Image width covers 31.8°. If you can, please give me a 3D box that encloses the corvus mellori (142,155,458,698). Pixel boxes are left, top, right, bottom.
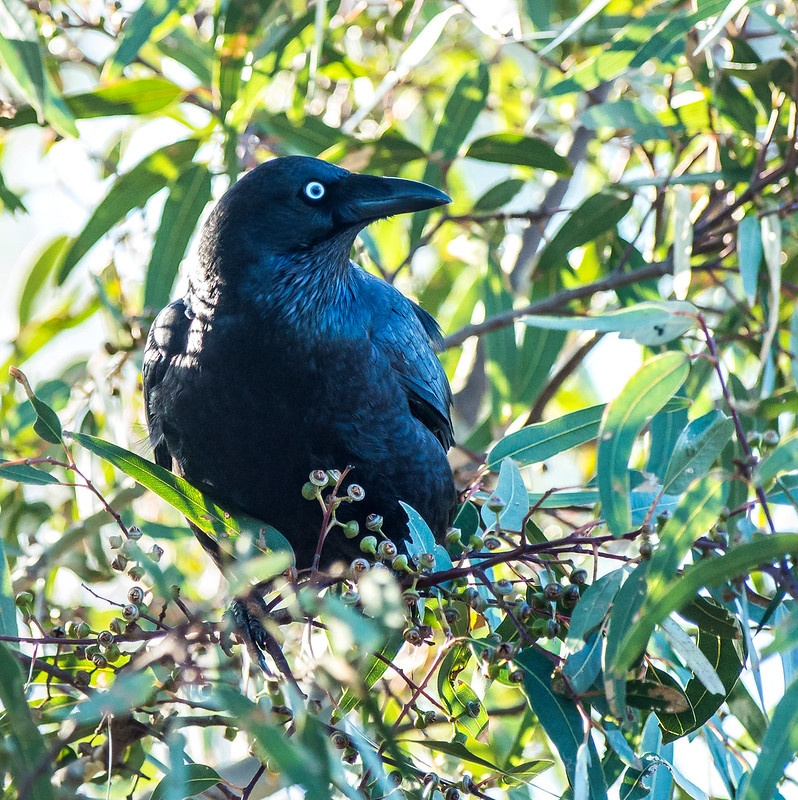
[{"bbox_3d":[-0.466,-0.021,4.180,1.148,0.896,1.586,-8,-94,3],"label":"corvus mellori"}]
